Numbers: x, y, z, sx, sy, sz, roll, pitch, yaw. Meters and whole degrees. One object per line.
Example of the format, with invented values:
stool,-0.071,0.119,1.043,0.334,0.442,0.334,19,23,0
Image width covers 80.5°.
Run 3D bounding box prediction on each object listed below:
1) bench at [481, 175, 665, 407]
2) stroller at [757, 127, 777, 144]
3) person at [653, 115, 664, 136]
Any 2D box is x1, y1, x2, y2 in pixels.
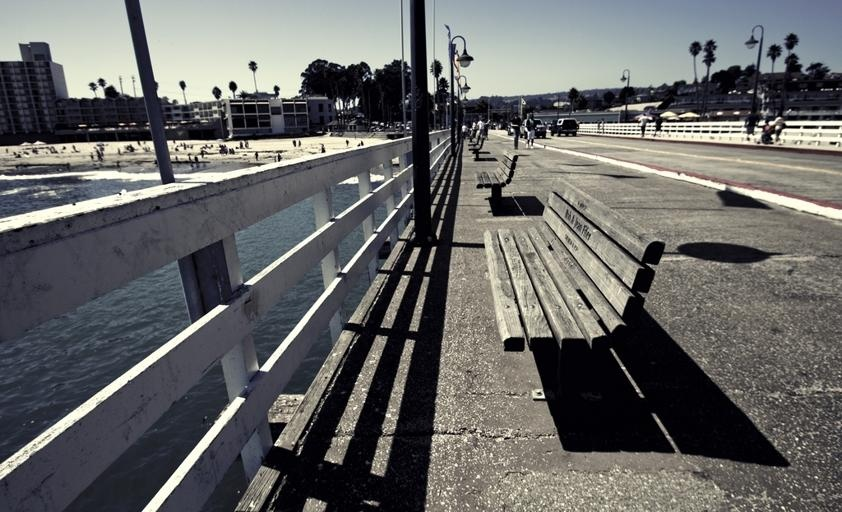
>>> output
bench,1.473,0.358,4.920,0.934,1.047,2.462,-5,23,4
stroller,16.773,-5.894,24.072,0.557,0.859,1.473,11,23,32
person,19.058,-10.489,39.990,0.604,1.363,2.221,7,21,24
